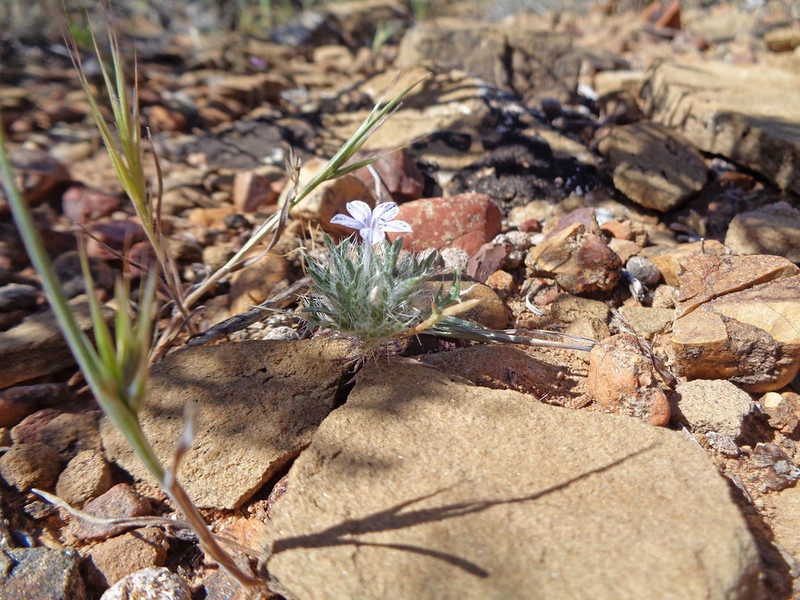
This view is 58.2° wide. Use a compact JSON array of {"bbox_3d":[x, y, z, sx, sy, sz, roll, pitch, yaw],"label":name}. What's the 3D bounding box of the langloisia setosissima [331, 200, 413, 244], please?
[{"bbox_3d":[-0.171,-0.365,3.085,0.327,0.113,0.284,-13,14,-39],"label":"langloisia setosissima"}]
